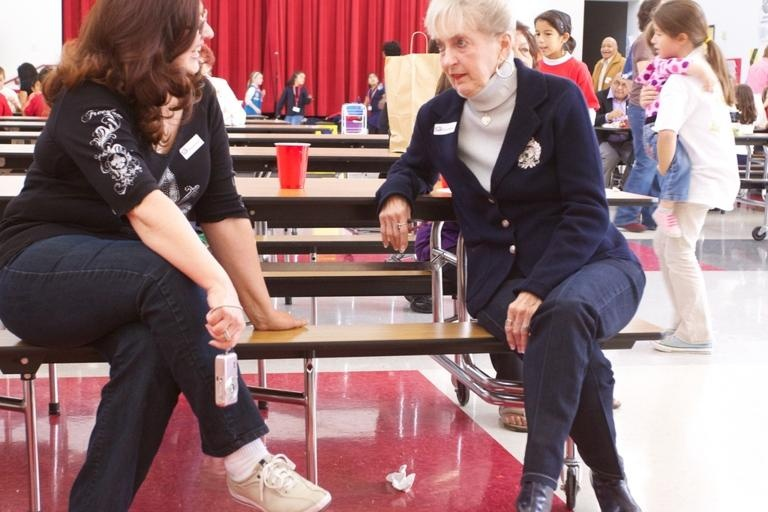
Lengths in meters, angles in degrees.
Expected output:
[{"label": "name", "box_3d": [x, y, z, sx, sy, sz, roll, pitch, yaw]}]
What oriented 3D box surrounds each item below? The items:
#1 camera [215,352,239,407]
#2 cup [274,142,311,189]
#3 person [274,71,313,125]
[{"label": "camera", "box_3d": [-0.392, 0.312, 1.714, 0.063, 0.133, 0.042, -6, 11, -29]}, {"label": "cup", "box_3d": [-0.319, -0.359, 2.588, 0.159, 0.183, 0.160, 0, 0, 0]}, {"label": "person", "box_3d": [-1.631, -2.795, 12.412, 0.617, 1.356, 0.440, 8, 34, -4]}]
